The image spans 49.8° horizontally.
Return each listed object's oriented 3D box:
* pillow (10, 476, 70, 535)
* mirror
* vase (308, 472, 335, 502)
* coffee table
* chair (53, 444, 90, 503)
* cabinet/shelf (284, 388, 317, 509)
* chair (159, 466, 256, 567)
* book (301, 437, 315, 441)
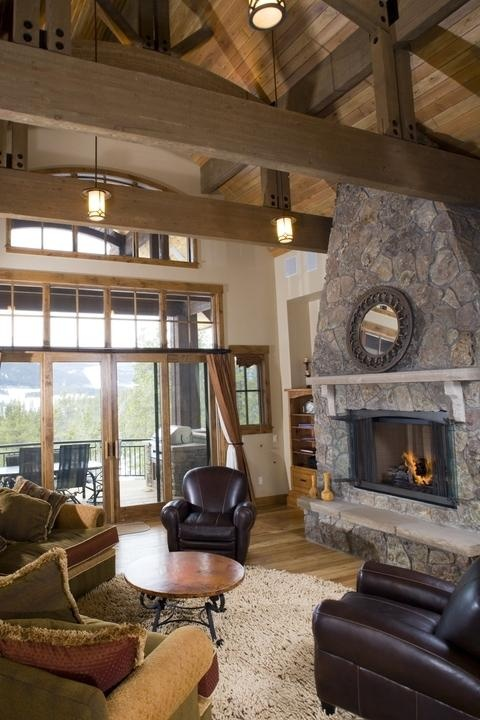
[{"bbox_3d":[-1.652,1.203,4.322,0.386,0.394,0.120,5,-2,28],"label":"pillow"},{"bbox_3d":[1.291,-0.282,4.698,0.054,0.857,0.827,4,-1,-23],"label":"mirror"},{"bbox_3d":[0.832,1.335,5.503,0.242,0.269,0.476,-2,-6,-16],"label":"vase"},{"bbox_3d":[-0.355,1.540,3.354,0.756,0.373,0.787,1,-3,-11],"label":"coffee table"},{"bbox_3d":[-2.043,1.428,6.378,0.388,0.752,0.432,3,-17,-15],"label":"chair"},{"bbox_3d":[0.885,1.228,7.323,0.398,1.636,0.649,-1,-6,-26],"label":"cabinet/shelf"},{"bbox_3d":[-0.268,1.443,4.793,0.913,0.868,0.846,-2,-9,18],"label":"chair"},{"bbox_3d":[0.949,1.113,7.263,0.162,0.067,0.404,-5,-6,9],"label":"book"}]
